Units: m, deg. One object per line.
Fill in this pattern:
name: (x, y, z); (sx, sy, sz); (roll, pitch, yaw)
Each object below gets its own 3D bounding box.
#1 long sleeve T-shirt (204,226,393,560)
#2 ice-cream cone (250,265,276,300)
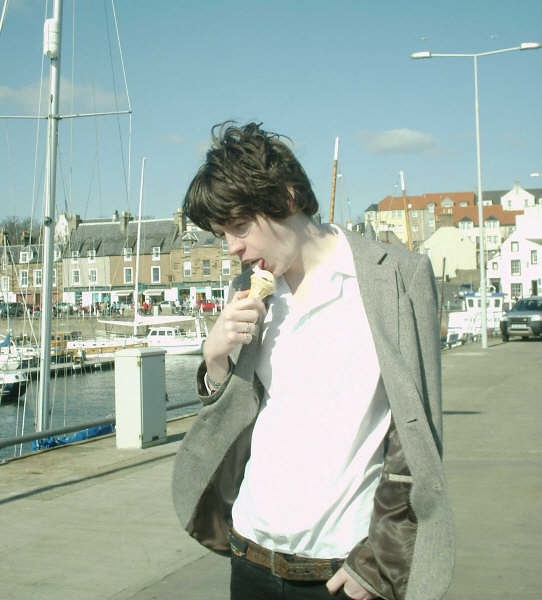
long sleeve T-shirt: (0.087, 0.254, 2.088); (0.258, 0.804, 0.420); (18, -23, -40)
ice-cream cone: (-0.022, -0.050, 2.208); (0.053, 0.093, 0.044); (23, -17, -4)
